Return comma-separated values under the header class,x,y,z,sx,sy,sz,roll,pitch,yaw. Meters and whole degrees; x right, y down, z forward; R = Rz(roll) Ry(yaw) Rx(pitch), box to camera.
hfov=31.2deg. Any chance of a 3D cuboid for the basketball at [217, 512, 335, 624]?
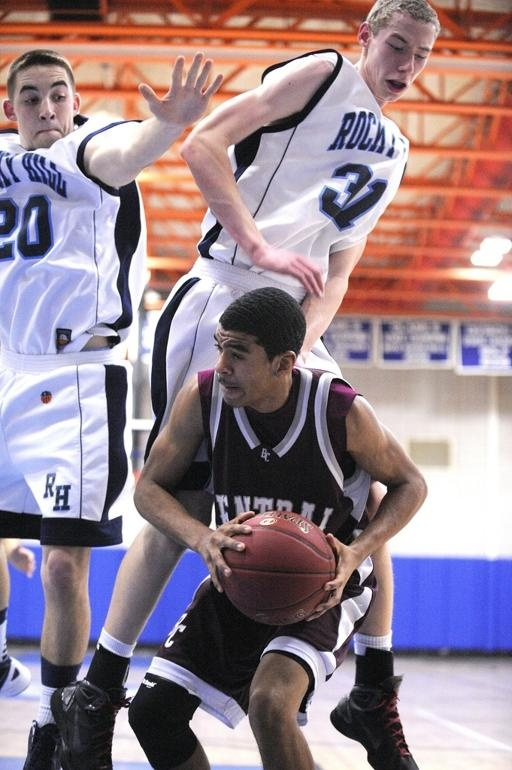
class,x,y,z,sx,sy,sz,roll,pitch,yaw
basketball,0.058,0.392,2.091,0.276,0.225,0.242,9,-5,9
